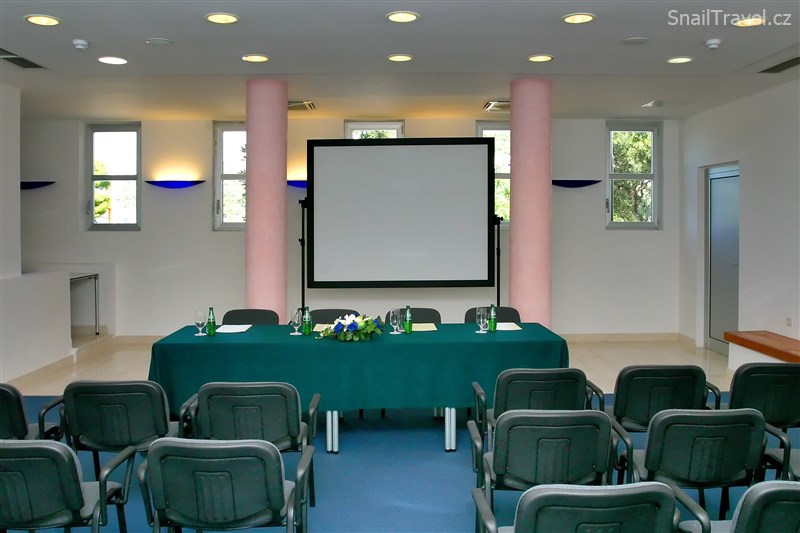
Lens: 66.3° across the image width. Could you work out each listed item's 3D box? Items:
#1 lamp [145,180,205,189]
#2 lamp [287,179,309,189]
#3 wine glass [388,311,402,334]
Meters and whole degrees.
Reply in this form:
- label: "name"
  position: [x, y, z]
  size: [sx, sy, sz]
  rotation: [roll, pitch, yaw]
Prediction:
- label: "lamp"
  position: [-3.740, -1.355, 10.111]
  size: [0.950, 0.142, 0.307]
  rotation: [1, 9, 11]
- label: "lamp"
  position: [-1.673, -1.335, 9.917]
  size: [0.289, 0.127, 0.279]
  rotation: [-1, 8, -6]
- label: "wine glass"
  position: [-0.051, 0.579, 6.534]
  size: [0.206, 0.311, 0.205]
  rotation: [0, -5, 0]
